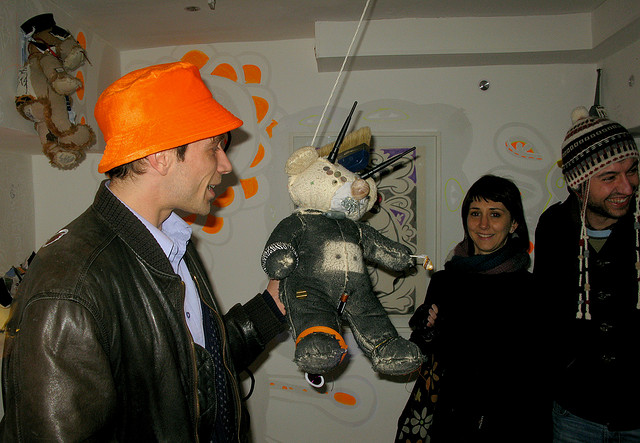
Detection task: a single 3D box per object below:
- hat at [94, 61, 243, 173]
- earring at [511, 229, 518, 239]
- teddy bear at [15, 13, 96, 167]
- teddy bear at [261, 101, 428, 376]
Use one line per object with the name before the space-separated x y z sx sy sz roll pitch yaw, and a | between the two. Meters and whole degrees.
hat | -0.652 -0.438 2.212 0.639 0.337 0.492 -21 21 -24
earring | 1.071 0.071 2.996 0.037 0.007 0.127 -28 -16 20
teddy bear | -1.467 -0.715 3.100 0.271 0.728 0.584 4 -8 -2
teddy bear | 0.115 0.073 2.331 0.705 1.127 0.578 7 -9 -31
